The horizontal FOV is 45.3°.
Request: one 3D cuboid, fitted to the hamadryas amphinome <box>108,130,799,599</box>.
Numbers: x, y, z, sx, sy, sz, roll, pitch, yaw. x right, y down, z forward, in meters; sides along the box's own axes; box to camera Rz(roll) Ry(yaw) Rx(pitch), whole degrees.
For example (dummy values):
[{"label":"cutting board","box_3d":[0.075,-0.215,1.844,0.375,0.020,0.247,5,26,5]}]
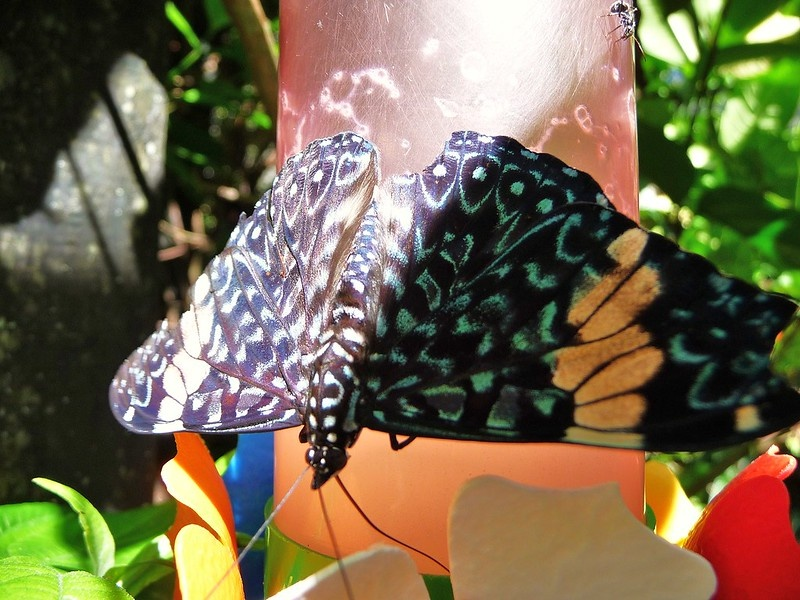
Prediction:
[{"label":"hamadryas amphinome","box_3d":[0.072,0.058,0.746,0.519,0.297,0.151,2,-17,17]}]
